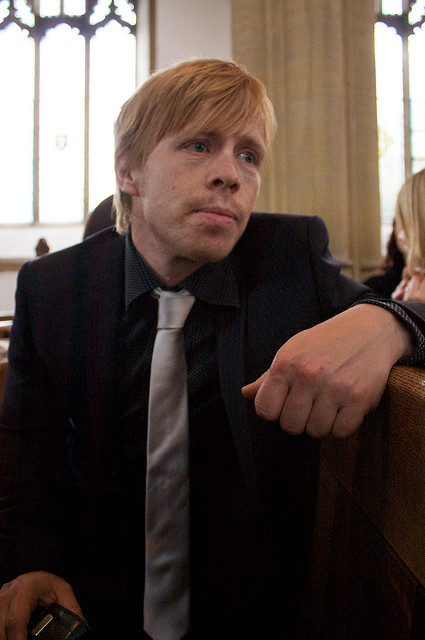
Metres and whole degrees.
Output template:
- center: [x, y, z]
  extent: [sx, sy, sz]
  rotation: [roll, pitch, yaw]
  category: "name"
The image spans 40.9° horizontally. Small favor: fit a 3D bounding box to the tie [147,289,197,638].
- center: [-0.061, 0.214, 0.876]
  extent: [0.076, 0.514, 0.123]
  rotation: [-1, 6, -1]
  category: "tie"
